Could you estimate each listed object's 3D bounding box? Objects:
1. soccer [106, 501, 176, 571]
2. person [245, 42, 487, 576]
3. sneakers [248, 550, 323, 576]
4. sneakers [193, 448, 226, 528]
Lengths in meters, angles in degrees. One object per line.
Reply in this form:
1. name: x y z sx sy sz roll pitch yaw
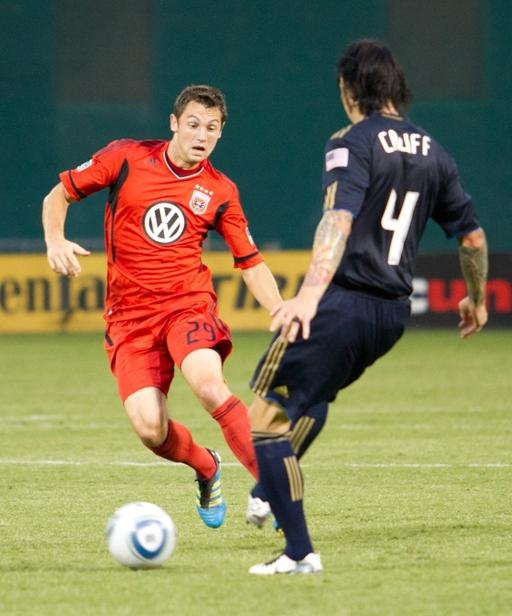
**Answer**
1. soccer: -0.445 0.890 4.203 0.272 0.236 0.265 10 -18 -42
2. person: 0.345 0.135 4.187 0.618 1.767 1.249 2 3 34
3. sneakers: 0.124 0.988 4.176 0.303 0.083 0.098 1 -8 2
4. sneakers: -0.190 0.854 4.922 0.106 0.269 0.132 -19 -26 19
